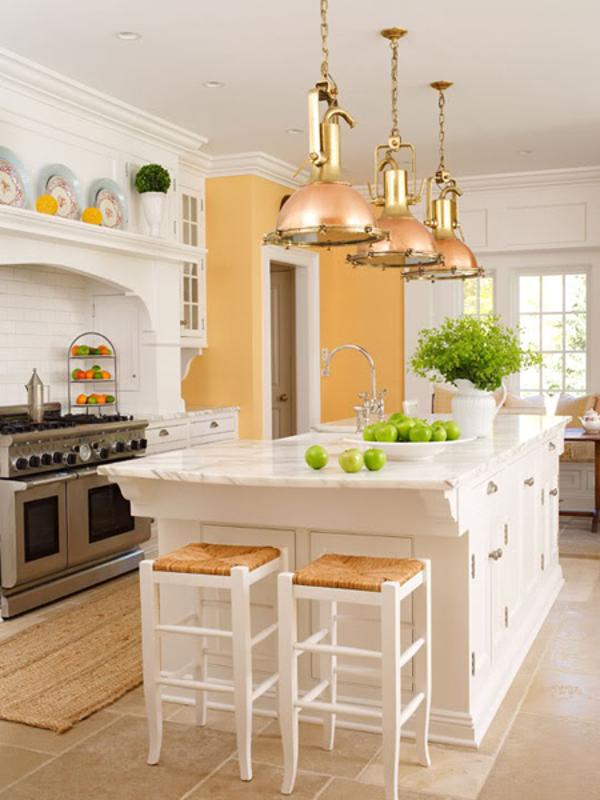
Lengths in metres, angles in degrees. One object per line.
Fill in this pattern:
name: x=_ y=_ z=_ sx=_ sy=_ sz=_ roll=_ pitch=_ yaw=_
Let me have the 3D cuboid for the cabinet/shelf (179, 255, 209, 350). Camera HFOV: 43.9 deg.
cabinet/shelf: x=-0.797 y=-0.740 z=5.573 sx=0.153 sy=0.696 sz=0.461 roll=-1 pitch=0 yaw=15

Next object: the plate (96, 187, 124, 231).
plate: x=-1.135 y=-1.143 z=4.440 sx=0.045 sy=0.190 sz=0.201 roll=1 pitch=21 yaw=17

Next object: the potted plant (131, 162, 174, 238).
potted plant: x=-0.967 y=-1.270 z=4.828 sx=0.223 sy=0.323 sz=0.422 roll=-1 pitch=0 yaw=-12

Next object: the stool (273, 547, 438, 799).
stool: x=0.158 y=0.732 z=2.072 sx=0.422 sy=0.596 sz=0.608 roll=-1 pitch=0 yaw=8

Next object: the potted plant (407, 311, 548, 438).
potted plant: x=0.772 y=-0.110 z=3.291 sx=0.442 sy=0.540 sz=0.395 roll=-1 pitch=1 yaw=-41

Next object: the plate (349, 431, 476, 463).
plate: x=0.340 y=0.164 z=2.382 sx=0.444 sy=0.068 sz=0.199 roll=-1 pitch=0 yaw=-33

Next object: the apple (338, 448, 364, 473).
apple: x=0.147 y=0.176 z=2.115 sx=0.066 sy=0.069 sz=0.067 roll=-1 pitch=-4 yaw=24

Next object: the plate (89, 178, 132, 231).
plate: x=-1.131 y=-1.168 z=4.459 sx=0.056 sy=0.211 sz=0.353 roll=-1 pitch=0 yaw=24

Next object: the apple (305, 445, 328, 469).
apple: x=0.048 y=0.171 z=2.239 sx=0.074 sy=0.074 sz=0.067 roll=-2 pitch=3 yaw=16

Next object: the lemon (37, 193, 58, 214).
lemon: x=-1.324 y=-1.026 z=3.893 sx=0.092 sy=0.096 sz=0.196 roll=-1 pitch=0 yaw=-13

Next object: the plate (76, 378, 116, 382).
plate: x=-1.323 y=-0.131 z=4.850 sx=0.207 sy=0.018 sz=0.297 roll=-1 pitch=0 yaw=-14

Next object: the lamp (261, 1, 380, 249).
lamp: x=0.076 y=-0.757 z=2.380 sx=0.386 sy=0.345 sz=0.412 roll=-1 pitch=0 yaw=-2

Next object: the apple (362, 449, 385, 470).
apple: x=0.216 y=0.173 z=2.162 sx=0.065 sy=0.066 sz=0.062 roll=0 pitch=-2 yaw=-25
